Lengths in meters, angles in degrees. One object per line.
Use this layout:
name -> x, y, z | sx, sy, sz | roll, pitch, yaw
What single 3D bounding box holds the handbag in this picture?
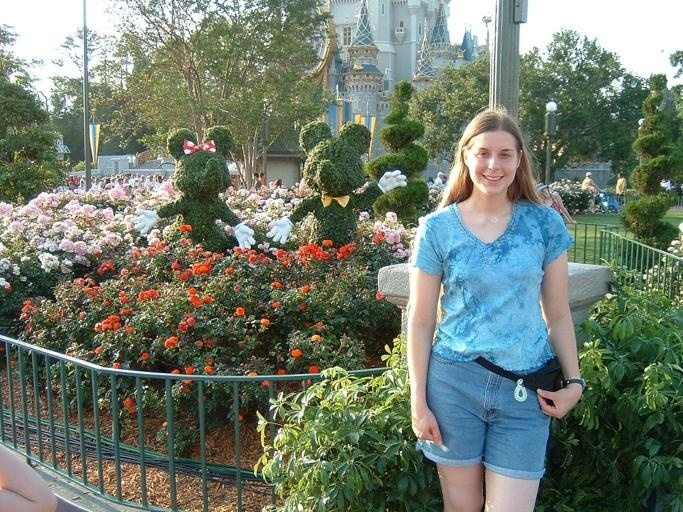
handbag -> 0.801, 0.556, 3.348 | 0.350, 0.145, 0.215 | 22, 5, 7
